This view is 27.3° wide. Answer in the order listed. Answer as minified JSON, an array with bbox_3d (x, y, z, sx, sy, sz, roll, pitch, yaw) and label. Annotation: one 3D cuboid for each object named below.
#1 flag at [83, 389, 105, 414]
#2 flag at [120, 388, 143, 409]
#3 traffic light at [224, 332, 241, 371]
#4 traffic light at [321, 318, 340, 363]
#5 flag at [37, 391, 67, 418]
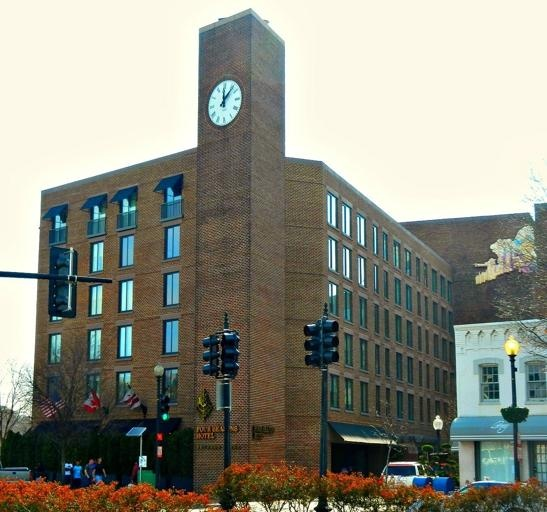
[{"bbox_3d":[-10.085,7.964,62.858,1.001,1.514,1.800,2,-20,-8],"label":"flag"},{"bbox_3d":[-7.769,7.700,61.986,1.048,1.402,2.186,2,-20,-8],"label":"flag"},{"bbox_3d":[-1.371,3.085,36.089,0.565,1.591,0.658,1,-20,-5],"label":"traffic light"},{"bbox_3d":[1.755,2.517,34.360,0.499,1.533,1.222,-2,-20,2],"label":"traffic light"},{"bbox_3d":[-12.301,8.195,62.918,0.394,1.433,1.523,-35,7,-1],"label":"flag"}]
